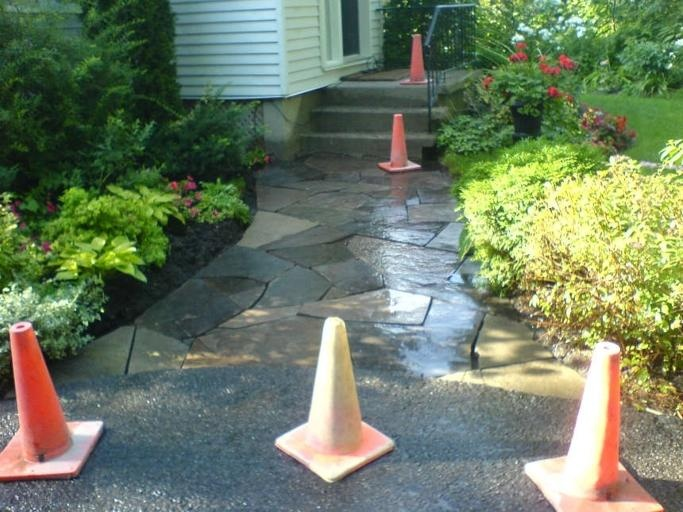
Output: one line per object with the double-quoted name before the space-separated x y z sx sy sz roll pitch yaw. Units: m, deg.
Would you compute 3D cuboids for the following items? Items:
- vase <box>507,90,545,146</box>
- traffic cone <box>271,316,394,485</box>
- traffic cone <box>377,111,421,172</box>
"vase" 3.161 -2.313 10.718 0.568 0.696 0.564 0 23 8
"traffic cone" -0.076 0.928 4.289 0.668 1.001 0.618 -20 28 -35
"traffic cone" 0.902 -1.847 10.210 0.814 0.838 0.834 6 22 30
